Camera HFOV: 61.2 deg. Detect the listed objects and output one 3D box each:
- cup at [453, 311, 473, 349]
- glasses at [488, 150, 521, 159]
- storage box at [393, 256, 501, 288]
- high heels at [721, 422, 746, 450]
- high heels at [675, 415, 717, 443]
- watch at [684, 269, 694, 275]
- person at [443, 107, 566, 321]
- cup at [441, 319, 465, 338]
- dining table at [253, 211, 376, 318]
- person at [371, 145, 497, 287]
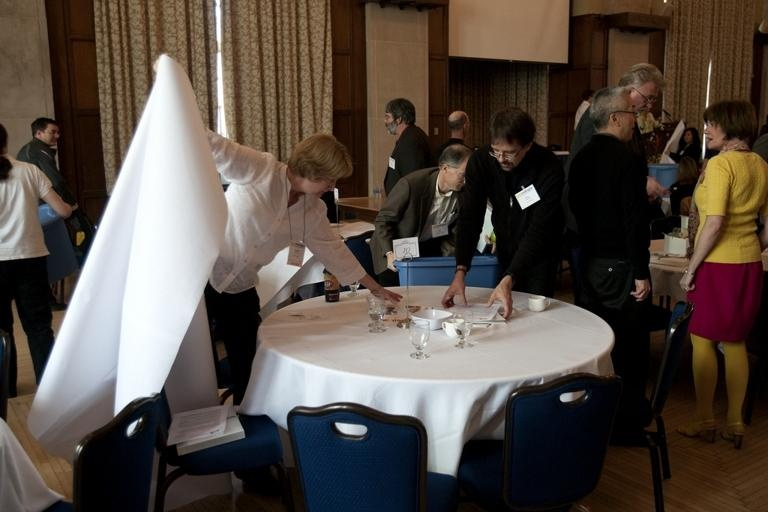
[{"bbox_3d":[0.441,0.407,3.502,0.102,0.115,0.057,9,15,-34],"label":"cup"},{"bbox_3d":[0.724,-0.615,3.925,0.157,0.060,0.058,9,15,32],"label":"glasses"},{"bbox_3d":[0.459,0.103,4.675,0.458,0.233,0.333,-3,4,-5],"label":"storage box"},{"bbox_3d":[2.271,1.150,4.263,0.077,0.161,0.207,-5,24,10],"label":"high heels"},{"bbox_3d":[2.087,1.149,4.371,0.125,0.157,0.245,-8,9,-43],"label":"high heels"},{"bbox_3d":[1.957,0.097,4.169,0.031,0.037,0.045,0,3,-5],"label":"watch"},{"bbox_3d":[0.825,-0.002,4.300,0.561,1.890,1.034,1,33,17],"label":"person"},{"bbox_3d":[0.375,0.390,3.577,0.097,0.084,0.082,-2,5,4],"label":"cup"},{"bbox_3d":[-0.750,0.167,5.546,0.859,0.588,0.792,-13,19,-25],"label":"dining table"},{"bbox_3d":[0.344,-0.356,4.935,0.669,1.199,0.758,3,36,-16],"label":"person"}]
